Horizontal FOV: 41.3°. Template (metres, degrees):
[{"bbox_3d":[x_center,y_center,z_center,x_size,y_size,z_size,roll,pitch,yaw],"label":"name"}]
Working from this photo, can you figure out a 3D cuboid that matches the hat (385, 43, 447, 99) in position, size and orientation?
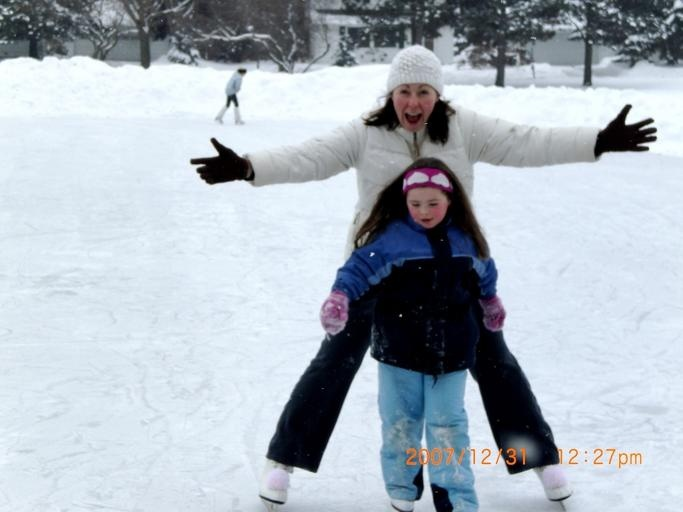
[{"bbox_3d":[0.370,-0.938,4.622,0.259,0.203,0.251,2,10,-1],"label":"hat"}]

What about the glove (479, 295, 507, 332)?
[{"bbox_3d":[0.778,0.285,4.585,0.133,0.162,0.051,7,6,30],"label":"glove"}]

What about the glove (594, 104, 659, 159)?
[{"bbox_3d":[1.481,-0.650,4.641,0.267,0.263,0.386,7,17,29],"label":"glove"}]

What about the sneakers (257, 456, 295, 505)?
[{"bbox_3d":[-0.333,1.138,4.644,0.142,0.240,0.090,9,4,4],"label":"sneakers"}]

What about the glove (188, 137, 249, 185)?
[{"bbox_3d":[-0.602,-0.474,4.516,0.289,0.243,0.245,-7,16,-22],"label":"glove"}]

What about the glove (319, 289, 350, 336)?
[{"bbox_3d":[-0.029,0.265,4.337,0.141,0.198,0.062,13,-8,3],"label":"glove"}]
